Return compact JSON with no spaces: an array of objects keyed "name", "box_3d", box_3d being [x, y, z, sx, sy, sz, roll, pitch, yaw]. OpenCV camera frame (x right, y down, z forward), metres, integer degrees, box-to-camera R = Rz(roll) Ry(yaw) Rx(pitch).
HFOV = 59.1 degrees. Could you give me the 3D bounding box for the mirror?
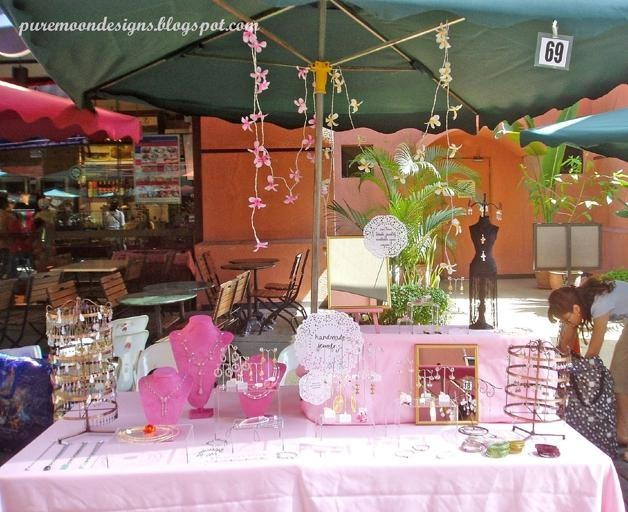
[{"name":"mirror","box_3d":[0.192,0.074,2.403,0.414,0.382,0.030,-1,-6,-6]}]
